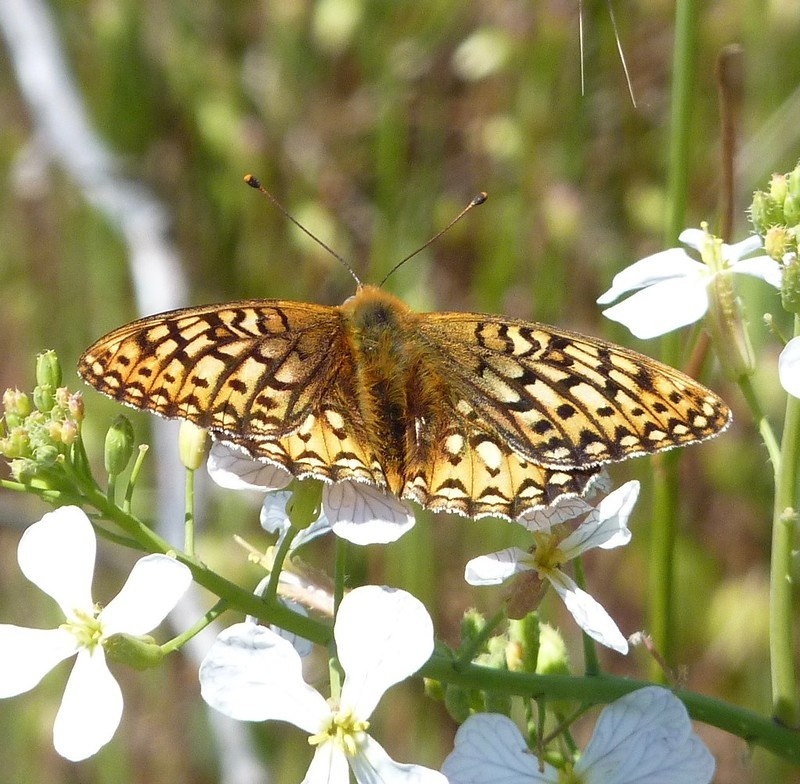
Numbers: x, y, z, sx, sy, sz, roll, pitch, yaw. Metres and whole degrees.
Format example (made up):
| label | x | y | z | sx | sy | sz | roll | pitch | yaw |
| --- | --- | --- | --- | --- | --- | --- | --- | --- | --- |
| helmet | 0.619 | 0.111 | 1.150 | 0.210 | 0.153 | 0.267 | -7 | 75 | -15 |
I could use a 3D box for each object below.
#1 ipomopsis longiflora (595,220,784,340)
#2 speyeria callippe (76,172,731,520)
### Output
| label | x | y | z | sx | sy | sz | roll | pitch | yaw |
| --- | --- | --- | --- | --- | --- | --- | --- | --- | --- |
| ipomopsis longiflora | 0.398 | -0.151 | 1.755 | 0.173 | 0.069 | 0.205 | -6 | 32 | 20 |
| speyeria callippe | 0.004 | -0.035 | 1.615 | 0.807 | 0.205 | 0.679 | 0 | -47 | 11 |
